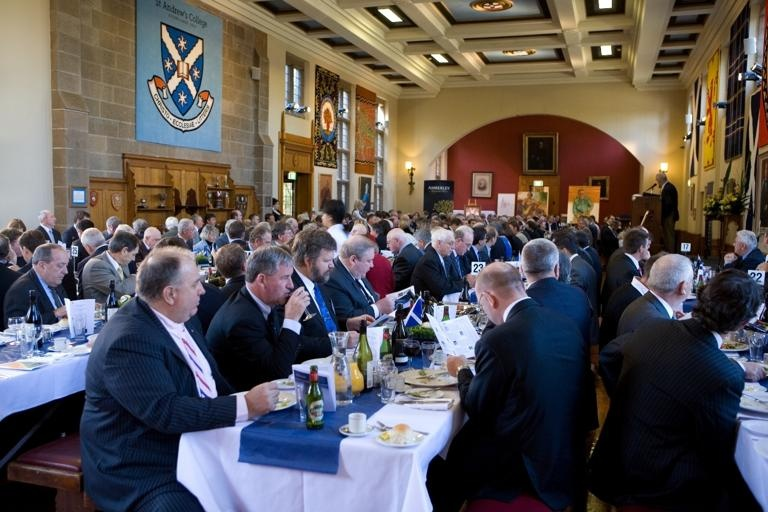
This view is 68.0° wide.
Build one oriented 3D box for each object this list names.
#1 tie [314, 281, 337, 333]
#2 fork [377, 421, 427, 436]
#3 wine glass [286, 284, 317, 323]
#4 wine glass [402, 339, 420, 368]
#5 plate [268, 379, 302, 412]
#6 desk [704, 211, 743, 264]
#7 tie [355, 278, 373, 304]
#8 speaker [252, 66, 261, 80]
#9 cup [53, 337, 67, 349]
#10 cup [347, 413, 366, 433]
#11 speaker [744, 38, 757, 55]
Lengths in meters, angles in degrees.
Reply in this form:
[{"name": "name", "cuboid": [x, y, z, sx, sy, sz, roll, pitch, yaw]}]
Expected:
[{"name": "tie", "cuboid": [-0.456, 0.397, 4.435, 0.073, 0.333, 0.245, -17, 8, 9]}, {"name": "fork", "cuboid": [0.092, 0.920, 3.031, 0.044, 0.056, 0.356, 20, -14, -38]}, {"name": "wine glass", "cuboid": [-0.552, 0.306, 3.726, 0.155, 0.223, 0.083, 11, -6, -42]}, {"name": "wine glass", "cuboid": [0.204, 0.677, 4.004, 0.154, 0.247, 0.144, -1, 4, -2]}, {"name": "plate", "cuboid": [-0.578, 0.821, 3.384, 0.164, 0.028, 0.173, 1, 19, -6]}, {"name": "desk", "cuboid": [5.911, -0.330, 9.897, 0.334, 0.866, 0.932, 1, 0, 8]}, {"name": "tie", "cuboid": [-0.171, 0.325, 5.314, 0.076, 0.210, 0.156, -38, 10, 5]}, {"name": "speaker", "cuboid": [-3.069, -4.409, 13.702, 0.158, 0.332, 0.333, 0, 2, 20]}, {"name": "cup", "cuboid": [-2.473, 0.670, 4.363, 0.094, 0.101, 0.101, -1, 3, 0]}, {"name": "cup", "cuboid": [-0.150, 0.876, 3.030, 0.084, 0.083, 0.088, -1, 2, 0]}, {"name": "speaker", "cuboid": [5.577, -3.217, 8.676, 0.131, 0.294, 0.404, 4, 8, 36]}]
